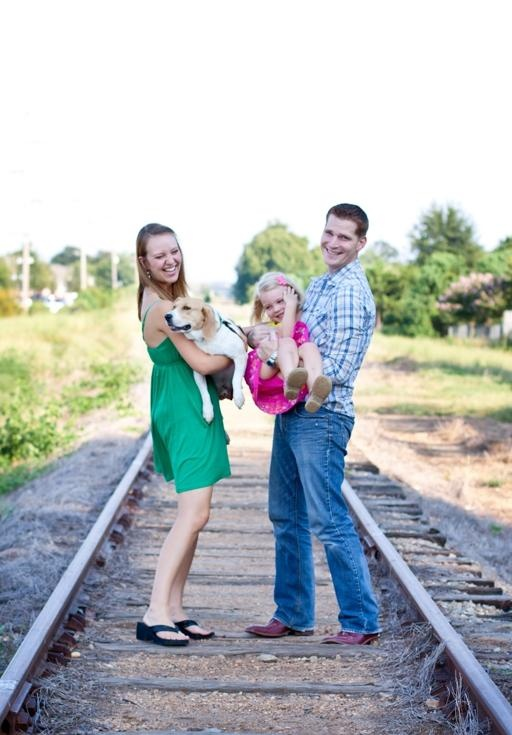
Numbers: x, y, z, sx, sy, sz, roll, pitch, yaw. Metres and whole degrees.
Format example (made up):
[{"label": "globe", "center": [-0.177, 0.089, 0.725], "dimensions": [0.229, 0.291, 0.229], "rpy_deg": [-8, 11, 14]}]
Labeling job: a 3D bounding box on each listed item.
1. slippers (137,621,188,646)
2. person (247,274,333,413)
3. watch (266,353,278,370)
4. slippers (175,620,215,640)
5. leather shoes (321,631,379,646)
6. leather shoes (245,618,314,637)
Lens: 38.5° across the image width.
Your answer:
[{"label": "slippers", "center": [-0.436, 1.190, 3.267], "dimensions": [0.190, 0.060, 0.099], "rpy_deg": [-1, -4, 31]}, {"label": "person", "center": [0.119, -0.127, 3.293], "dimensions": [0.282, 0.660, 0.702], "rpy_deg": [-2, -6, -10]}, {"label": "watch", "center": [0.068, -0.027, 3.237], "dimensions": [0.054, 0.042, 0.072], "rpy_deg": [-8, -8, 1]}, {"label": "slippers", "center": [-0.283, 1.223, 3.402], "dimensions": [0.071, 0.054, 0.197], "rpy_deg": [3, 3, -44]}, {"label": "leather shoes", "center": [0.425, 1.230, 3.353], "dimensions": [0.248, 0.099, 0.089], "rpy_deg": [5, -11, -3]}, {"label": "leather shoes", "center": [0.116, 1.248, 3.561], "dimensions": [0.304, 0.122, 0.109], "rpy_deg": [6, -17, -8]}]
